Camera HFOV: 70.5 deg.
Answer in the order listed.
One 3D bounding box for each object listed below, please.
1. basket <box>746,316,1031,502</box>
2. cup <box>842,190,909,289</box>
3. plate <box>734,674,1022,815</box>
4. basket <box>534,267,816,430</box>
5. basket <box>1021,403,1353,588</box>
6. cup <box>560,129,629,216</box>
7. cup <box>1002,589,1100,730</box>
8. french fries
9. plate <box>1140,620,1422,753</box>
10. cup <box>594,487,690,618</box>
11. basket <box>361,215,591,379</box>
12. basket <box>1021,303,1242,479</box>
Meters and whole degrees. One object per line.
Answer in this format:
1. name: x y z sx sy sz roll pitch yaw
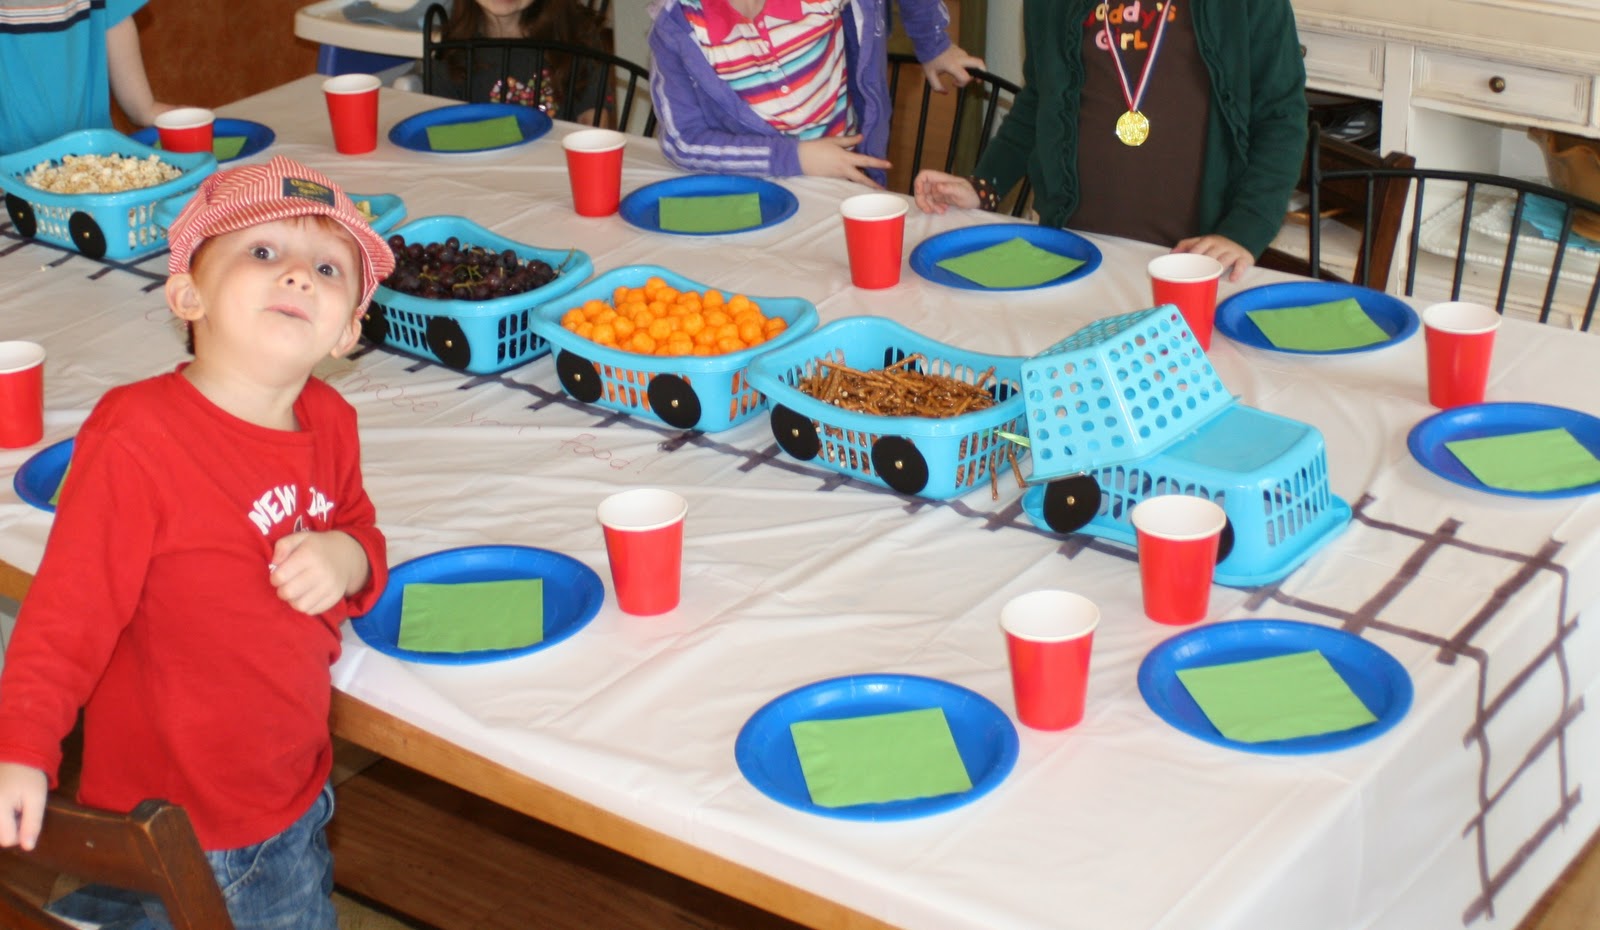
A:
1. basket: 0.159 -0.065 2.040 0.446 0.160 0.326 17 41 33
2. cup: 0.166 -0.500 2.501 0.201 0.175 0.193 -1 25 1
3. plate: 0.101 0.375 1.523 0.368 0.078 0.226 5 26 6
4. basket: -0.236 -0.198 2.174 0.496 0.150 0.328 17 36 26
5. basket: 0.628 0.026 1.806 0.407 0.109 0.297 12 33 34
6. cup: -0.493 -0.729 2.811 0.206 0.188 0.197 -1 23 0
7. cup: 0.337 0.267 1.533 0.135 0.125 0.134 -2 28 1
8. french fries: 0.200 -0.095 1.967 0.331 0.119 0.245 29 41 32
9. plate: 0.656 0.309 1.574 0.223 0.022 0.215 14 38 29
10. cup: -0.231 0.122 1.807 0.192 0.178 0.183 -2 27 1
11. basket: -0.667 -0.293 2.377 0.452 0.174 0.328 25 47 24
12. basket: 0.490 -0.099 1.905 0.350 0.199 0.286 -33 21 -15
